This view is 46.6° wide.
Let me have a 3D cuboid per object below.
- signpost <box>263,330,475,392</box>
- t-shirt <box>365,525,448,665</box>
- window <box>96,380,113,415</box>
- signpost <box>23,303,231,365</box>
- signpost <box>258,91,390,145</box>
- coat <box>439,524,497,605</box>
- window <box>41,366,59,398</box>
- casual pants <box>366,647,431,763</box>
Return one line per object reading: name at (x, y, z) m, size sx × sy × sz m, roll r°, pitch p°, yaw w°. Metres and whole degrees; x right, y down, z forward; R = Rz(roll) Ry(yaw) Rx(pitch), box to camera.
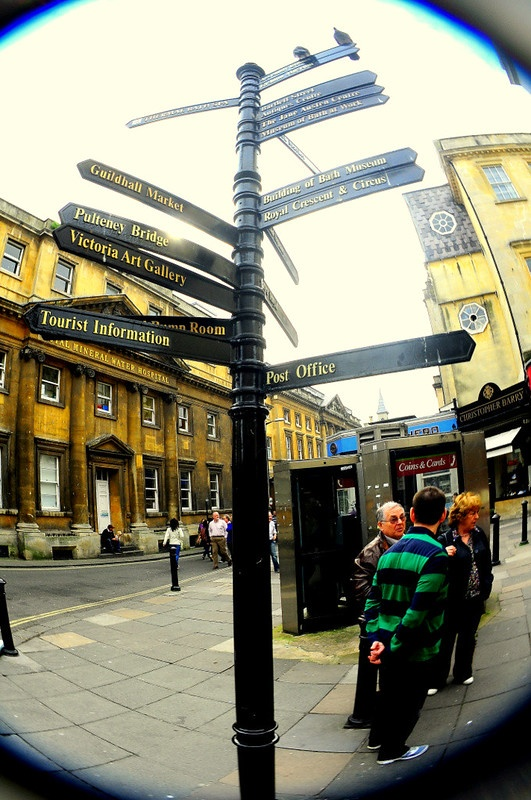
signpost at (0.472, -0.166, 2.876) m, size 0.972 × 0.181 × 0.167 m, roll -10°, pitch -11°, yaw 18°
t-shirt at (0.705, 0.952, 3.074) m, size 0.309 × 0.601 × 0.455 m, roll 12°, pitch -14°, yaw -24°
window at (-5.744, -0.061, 21.798) m, size 0.149 × 1.056 × 1.064 m, roll -9°, pitch -12°, yaw 17°
signpost at (-0.627, -0.322, 3.030) m, size 1.222 × 0.248 × 0.169 m, roll 5°, pitch 3°, yaw 19°
signpost at (0.249, -1.561, 3.281) m, size 0.803 × 0.051 × 0.192 m, roll -1°, pitch -35°, yaw 31°
coat at (1.443, 1.120, 4.333) m, size 0.369 × 0.493 × 0.270 m, roll -12°, pitch -12°, yaw 14°
window at (-6.694, -0.575, 18.992) m, size 0.112 × 1.012 × 0.880 m, roll -5°, pitch -9°, yaw 20°
casual pants at (0.641, 1.420, 2.858) m, size 0.305 × 0.452 × 0.260 m, roll -10°, pitch -11°, yaw 17°
